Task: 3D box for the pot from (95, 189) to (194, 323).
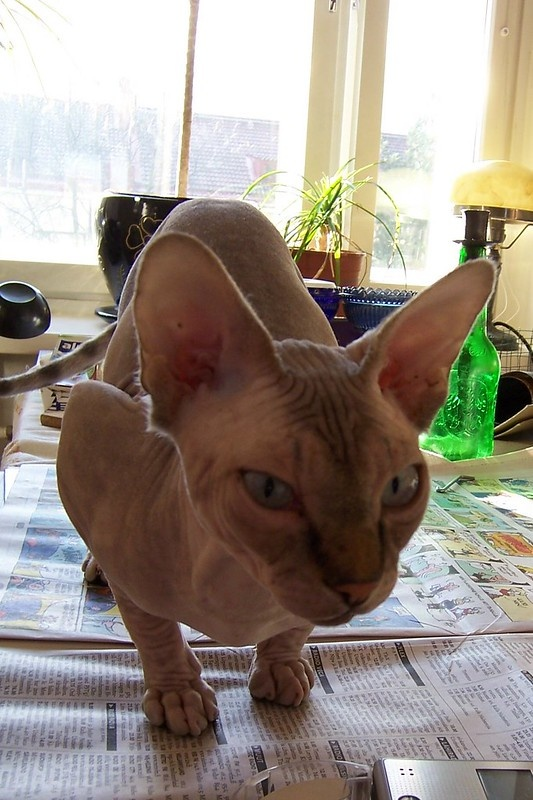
[{"bbox_3d":[-0.213,-0.255,1.198,0.232,0.219,0.231,2,17,-1],"label":"pot"}]
